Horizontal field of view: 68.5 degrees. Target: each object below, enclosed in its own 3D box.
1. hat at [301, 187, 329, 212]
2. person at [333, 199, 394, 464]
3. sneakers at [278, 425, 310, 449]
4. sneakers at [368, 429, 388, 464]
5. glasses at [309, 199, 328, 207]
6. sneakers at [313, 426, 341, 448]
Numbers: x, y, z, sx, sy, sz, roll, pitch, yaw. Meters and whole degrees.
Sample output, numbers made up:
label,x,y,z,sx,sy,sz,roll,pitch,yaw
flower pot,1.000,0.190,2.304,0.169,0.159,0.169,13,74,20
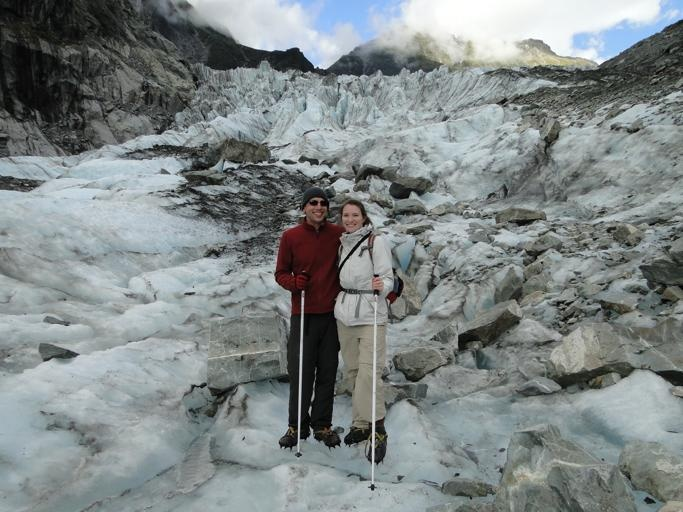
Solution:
label,x,y,z,sx,sy,sz,roll,pitch,yaw
hat,-0.332,-0.717,6.129,0.338,0.201,0.296,3,-17,-14
person,0.287,0.863,5.999,0.728,3.107,0.555,-3,-9,19
sneakers,-0.518,2.137,5.888,0.388,0.252,0.217,5,-9,-30
sneakers,0.401,2.191,5.744,0.261,0.326,0.139,5,-9,22
glasses,-0.264,-0.631,6.045,0.247,0.101,0.069,5,-10,-34
sneakers,-0.147,2.173,5.983,0.206,0.175,0.363,-2,-8,-40
